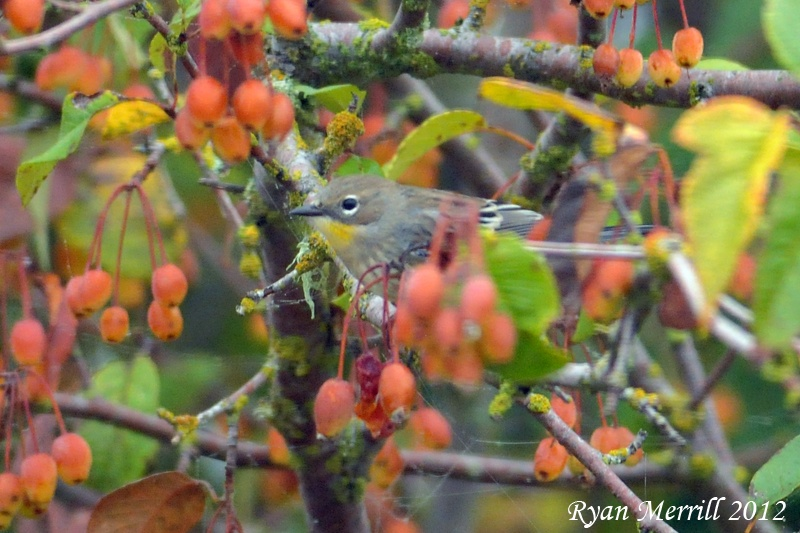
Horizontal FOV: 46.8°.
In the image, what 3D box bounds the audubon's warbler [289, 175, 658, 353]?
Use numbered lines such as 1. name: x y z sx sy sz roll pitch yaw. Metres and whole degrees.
1. audubon's warbler: 0.094 -0.071 2.427 1.056 0.452 0.334 4 35 24
